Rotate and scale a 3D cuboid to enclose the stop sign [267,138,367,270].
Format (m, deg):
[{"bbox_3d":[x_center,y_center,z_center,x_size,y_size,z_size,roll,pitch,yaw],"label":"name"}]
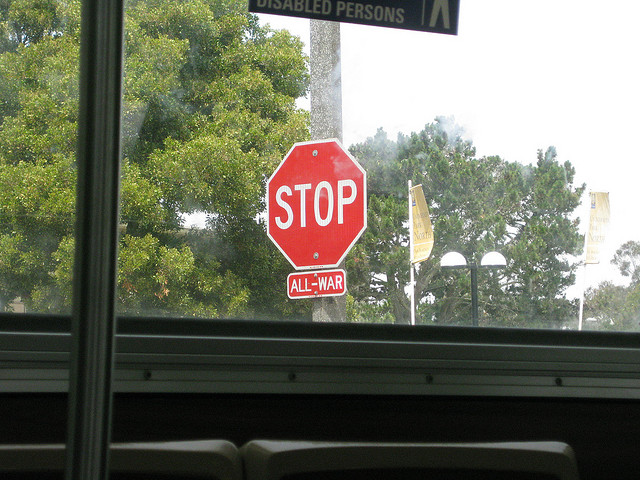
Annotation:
[{"bbox_3d":[-0.011,-0.095,2.474,0.299,0.396,0.042,-1,-8,-5],"label":"stop sign"}]
